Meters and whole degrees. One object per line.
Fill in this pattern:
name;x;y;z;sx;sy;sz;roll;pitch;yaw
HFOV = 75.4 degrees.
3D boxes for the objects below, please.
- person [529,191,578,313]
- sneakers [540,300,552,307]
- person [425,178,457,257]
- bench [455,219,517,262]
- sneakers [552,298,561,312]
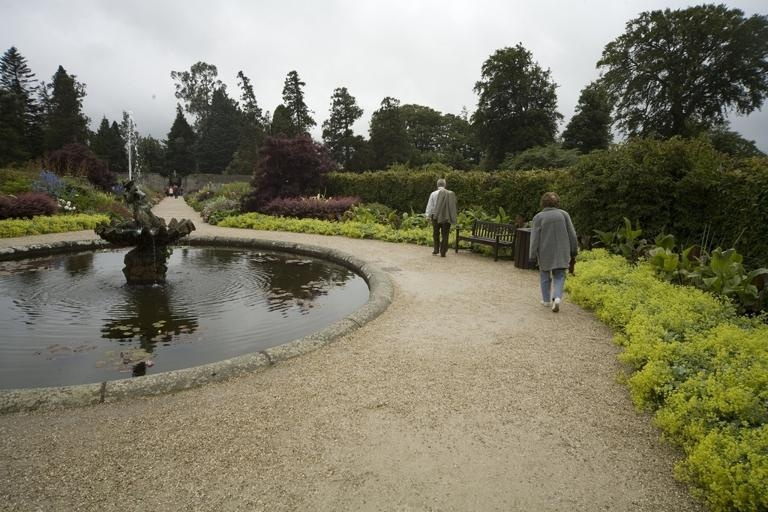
person;2.874;-0.098;8.506;0.739;1.953;0.667;8;10;30
sneakers;2.814;0.806;8.571;0.083;0.070;0.162;3;16;9
person;1.500;-1.015;12.852;0.729;1.936;0.915;4;9;6
bench;3.066;-0.330;12.858;0.723;1.023;1.947;16;6;41
sneakers;2.906;0.804;8.296;0.148;0.251;0.146;4;9;2
